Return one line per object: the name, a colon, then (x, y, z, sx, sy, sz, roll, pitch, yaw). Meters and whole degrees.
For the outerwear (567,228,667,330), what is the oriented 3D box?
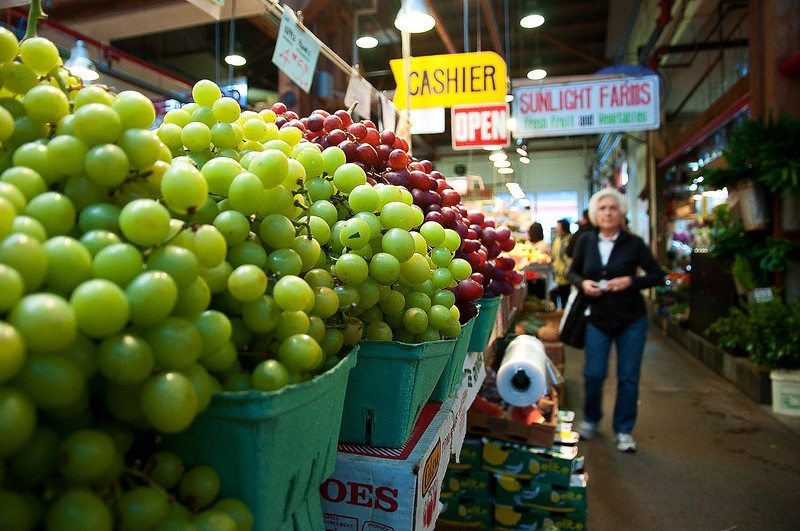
outerwear: (1.336, 0.115, 4.184, 0.590, 0.711, 0.401, -1, 2, 40)

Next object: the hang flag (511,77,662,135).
hang flag: (1.667, -1.435, 5.971, 1.264, 0.502, 0.141, 0, -9, 16)

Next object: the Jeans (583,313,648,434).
Jeans: (1.344, 0.660, 4.223, 0.365, 0.906, 0.262, 2, 13, 12)
